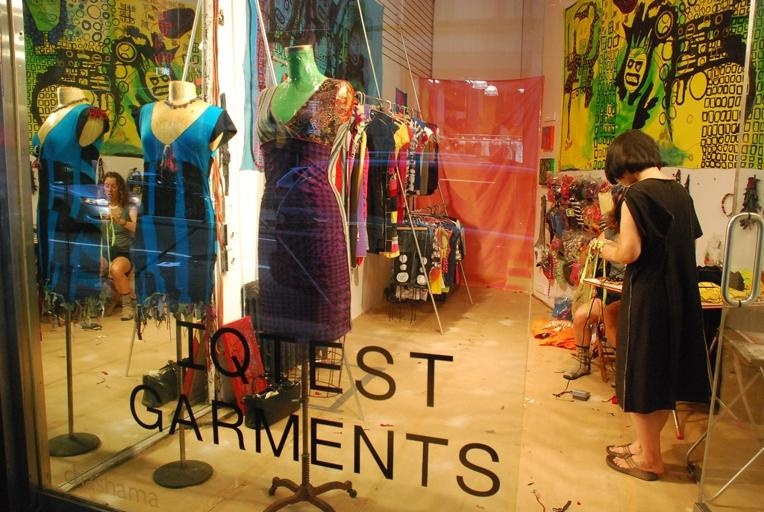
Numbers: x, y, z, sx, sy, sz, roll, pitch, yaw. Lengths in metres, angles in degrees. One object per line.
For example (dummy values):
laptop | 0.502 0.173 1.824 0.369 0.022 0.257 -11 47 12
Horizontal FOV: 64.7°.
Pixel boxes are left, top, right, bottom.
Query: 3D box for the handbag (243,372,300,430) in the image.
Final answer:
handbag | -0.486 0.751 3.059 0.235 0.253 0.413 -11 -18 26

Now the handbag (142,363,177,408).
handbag | -1.222 0.719 3.357 0.151 0.247 0.250 -4 -11 23

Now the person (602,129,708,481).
person | 1.549 0.264 3.440 0.642 1.905 0.607 1 4 36

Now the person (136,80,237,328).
person | -1.135 -0.290 3.296 0.499 1.290 0.309 6 8 9

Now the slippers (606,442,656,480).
slippers | 1.466 1.204 3.561 0.200 0.061 0.150 8 14 30
